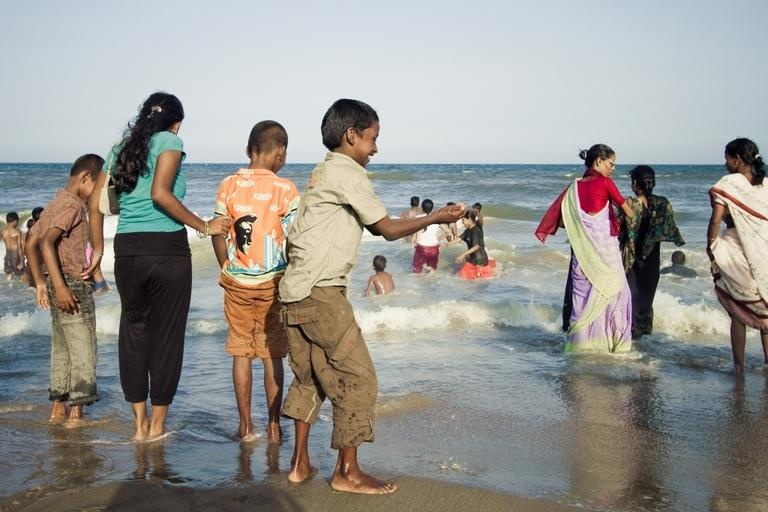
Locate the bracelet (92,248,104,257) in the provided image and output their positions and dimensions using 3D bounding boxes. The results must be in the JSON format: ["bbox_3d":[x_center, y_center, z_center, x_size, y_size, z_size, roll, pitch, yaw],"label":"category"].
[{"bbox_3d":[-2.627,-0.034,7.352,0.104,0.050,0.077,-3,-7,24],"label":"bracelet"}]

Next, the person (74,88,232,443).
[{"bbox_3d":[-2.030,0.104,7.169,0.812,3.057,1.090,-10,17,-38],"label":"person"}]

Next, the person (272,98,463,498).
[{"bbox_3d":[-0.309,0.311,6.490,1.058,3.096,0.970,-1,14,-7],"label":"person"}]

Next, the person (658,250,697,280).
[{"bbox_3d":[5.940,0.168,16.079,0.553,0.702,0.201,4,-16,15],"label":"person"}]

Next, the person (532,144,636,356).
[{"bbox_3d":[2.446,0.089,9.464,1.071,2.063,0.439,6,15,20],"label":"person"}]
